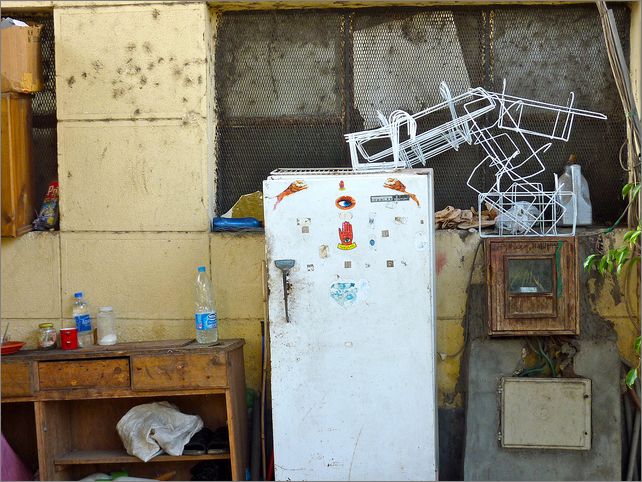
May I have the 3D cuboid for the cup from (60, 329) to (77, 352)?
[{"bbox_3d":[-1.802,0.704,6.581,0.119,0.155,0.129,1,0,0],"label":"cup"}]

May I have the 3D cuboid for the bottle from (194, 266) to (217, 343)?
[{"bbox_3d":[-0.837,0.455,6.701,0.172,0.539,0.329,-1,2,-9],"label":"bottle"}]
